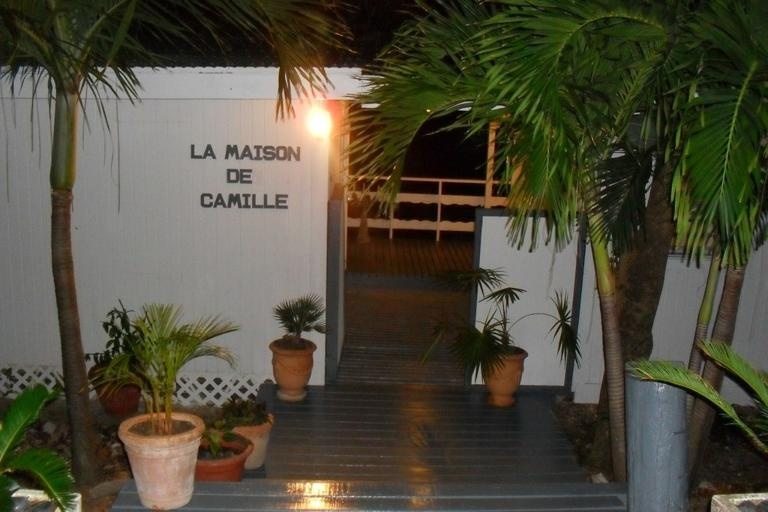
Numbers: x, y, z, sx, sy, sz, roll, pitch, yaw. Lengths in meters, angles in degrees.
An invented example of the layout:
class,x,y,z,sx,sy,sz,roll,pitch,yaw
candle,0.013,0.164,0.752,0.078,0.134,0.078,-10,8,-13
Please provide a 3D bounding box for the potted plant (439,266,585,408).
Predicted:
class,x,y,z,sx,sy,sz,roll,pitch,yaw
potted plant,1.804,1.160,8.310,1.486,1.498,1.755,3,7,3

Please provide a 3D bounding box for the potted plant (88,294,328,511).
class,x,y,z,sx,sy,sz,roll,pitch,yaw
potted plant,-1.608,1.213,6.296,1.426,1.574,2.556,6,6,29
